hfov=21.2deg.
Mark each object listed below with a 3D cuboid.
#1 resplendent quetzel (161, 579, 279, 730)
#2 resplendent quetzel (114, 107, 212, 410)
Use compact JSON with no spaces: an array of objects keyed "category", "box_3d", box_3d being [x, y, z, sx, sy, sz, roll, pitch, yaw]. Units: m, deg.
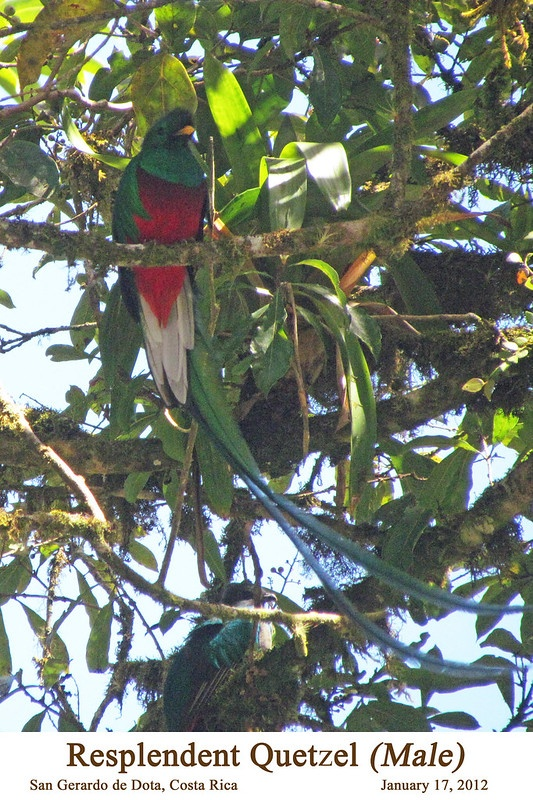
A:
[{"category":"resplendent quetzel","box_3d":[-0.167,0.852,4.654,0.365,0.256,0.556,-2,66,-7]},{"category":"resplendent quetzel","box_3d":[-0.314,-0.379,4.280,0.246,0.921,0.353,-1,15,-31]}]
